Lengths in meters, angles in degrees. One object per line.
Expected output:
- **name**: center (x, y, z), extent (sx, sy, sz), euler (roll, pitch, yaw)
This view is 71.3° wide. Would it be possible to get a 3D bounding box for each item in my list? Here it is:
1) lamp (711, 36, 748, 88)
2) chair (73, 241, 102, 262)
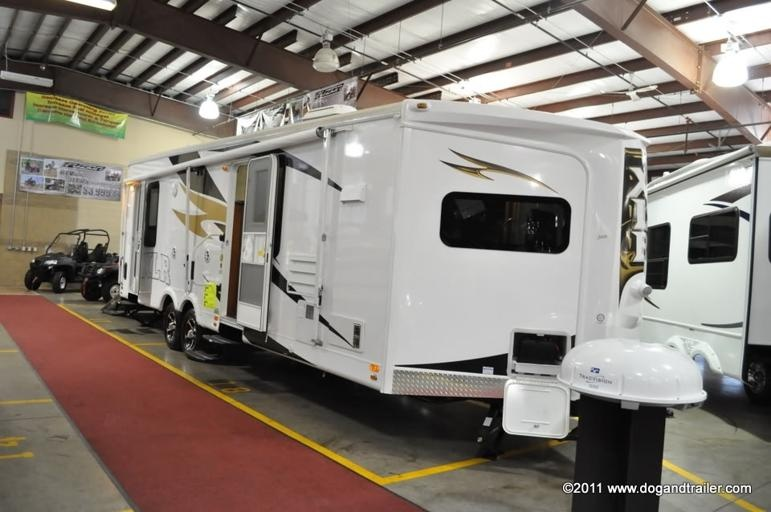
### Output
- **lamp**: center (6.502, -3.621, 10.054), extent (0.493, 0.832, 0.782), euler (9, 10, 32)
- **chair**: center (-9.196, -0.084, 16.756), extent (0.930, 0.695, 0.698), euler (3, 0, 2)
